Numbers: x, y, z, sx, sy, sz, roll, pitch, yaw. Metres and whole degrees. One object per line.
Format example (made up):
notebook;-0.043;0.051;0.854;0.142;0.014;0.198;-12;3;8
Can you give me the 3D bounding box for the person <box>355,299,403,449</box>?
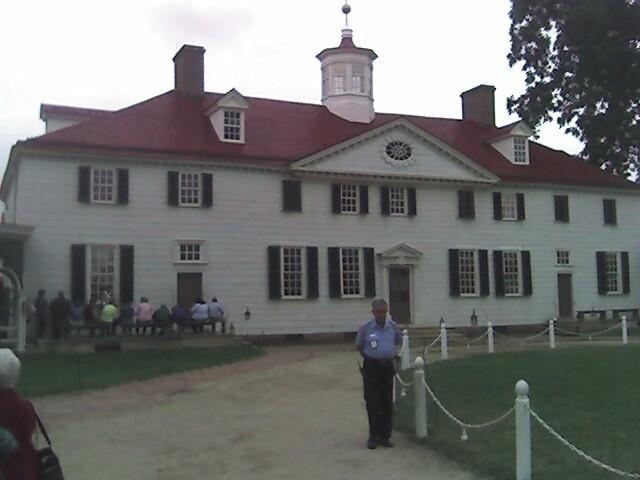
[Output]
person;1.265;2.962;15.212;0.914;3.198;0.663;0;3;3
